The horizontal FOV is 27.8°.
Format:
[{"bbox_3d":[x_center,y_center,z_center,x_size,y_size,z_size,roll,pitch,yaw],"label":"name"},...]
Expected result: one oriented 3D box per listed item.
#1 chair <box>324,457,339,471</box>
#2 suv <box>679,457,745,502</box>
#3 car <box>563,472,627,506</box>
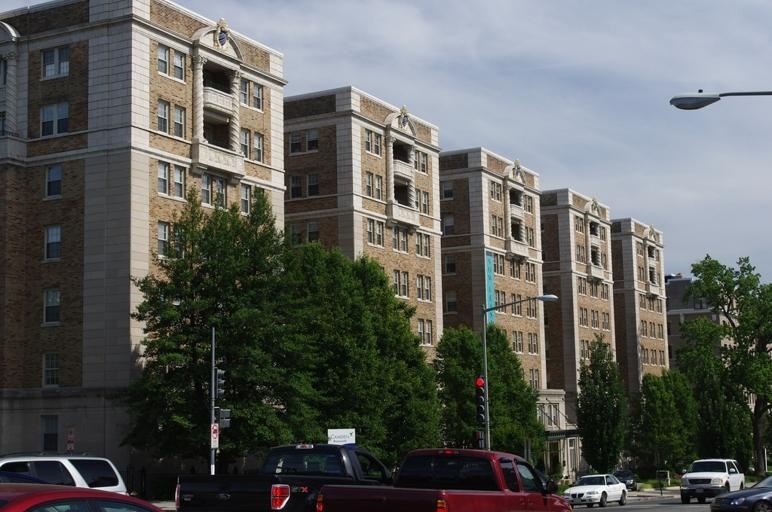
[{"bbox_3d":[-2.718,10.537,79.963,0.795,0.718,0.753,0,-12,6],"label":"chair"},{"bbox_3d":[23.170,15.606,109.178,2.752,1.908,4.521,-11,-23,27],"label":"suv"},{"bbox_3d":[14.837,16.560,110.830,4.510,2.425,2.417,10,-18,-39],"label":"car"}]
